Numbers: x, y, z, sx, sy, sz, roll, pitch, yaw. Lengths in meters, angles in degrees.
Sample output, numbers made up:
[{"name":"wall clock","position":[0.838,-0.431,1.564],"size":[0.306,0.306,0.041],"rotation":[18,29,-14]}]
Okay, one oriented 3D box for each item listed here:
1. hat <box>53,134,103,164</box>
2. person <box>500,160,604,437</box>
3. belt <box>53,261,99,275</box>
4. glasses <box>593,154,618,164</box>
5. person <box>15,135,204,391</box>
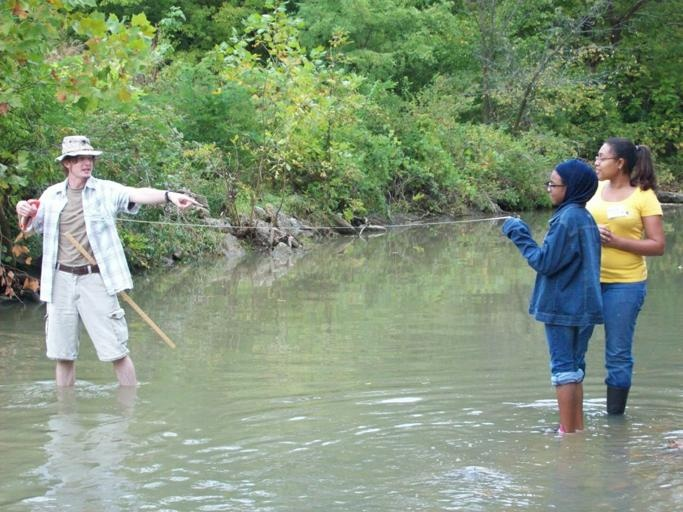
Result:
[{"name":"hat","position":[-2.681,-1.053,8.889],"size":[0.506,0.214,0.449],"rotation":[-9,3,7]},{"name":"person","position":[1.965,0.376,8.108],"size":[0.794,2.477,0.569],"rotation":[3,14,14]},{"name":"belt","position":[-2.583,0.137,8.840],"size":[0.408,0.110,0.053],"rotation":[1,13,4]},{"name":"glasses","position":[2.508,-0.910,8.455],"size":[0.138,0.034,0.123],"rotation":[4,-1,-2]},{"name":"person","position":[-2.485,0.101,8.971],"size":[1.324,2.572,0.551],"rotation":[-2,13,-7]}]
